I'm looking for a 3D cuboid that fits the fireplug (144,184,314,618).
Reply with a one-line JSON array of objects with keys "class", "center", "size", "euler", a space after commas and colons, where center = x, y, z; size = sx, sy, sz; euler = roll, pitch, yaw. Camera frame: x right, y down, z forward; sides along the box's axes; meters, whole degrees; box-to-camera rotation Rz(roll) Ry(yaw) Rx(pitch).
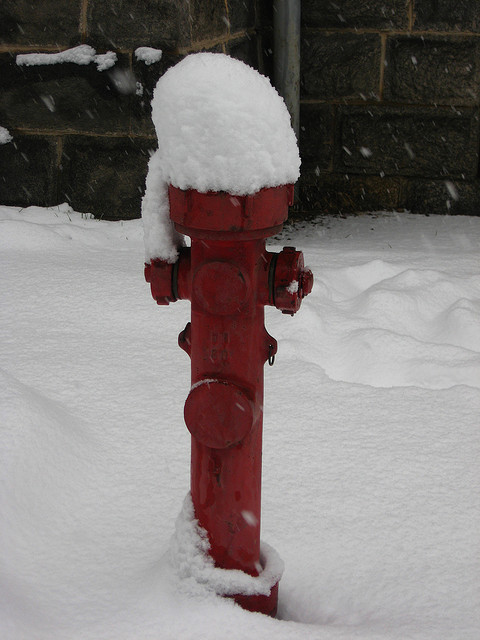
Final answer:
[{"class": "fireplug", "center": [-0.008, 0.213, 2.537], "size": [0.388, 1.079, 0.330], "euler": [-4, 24, -3]}]
